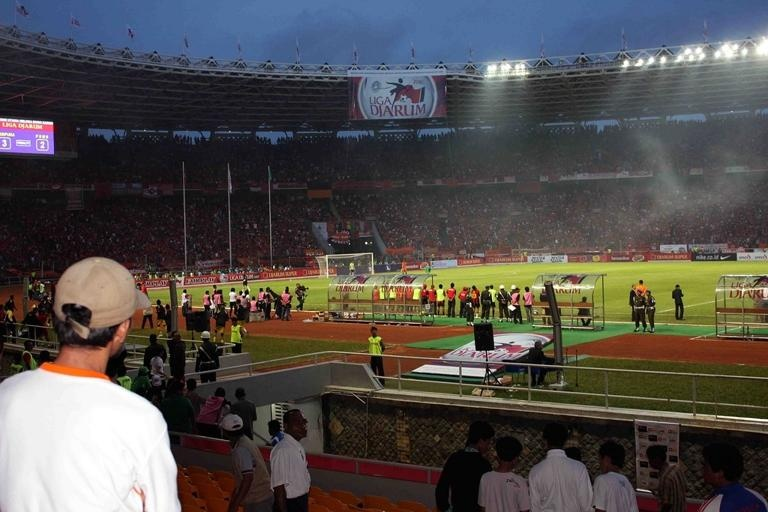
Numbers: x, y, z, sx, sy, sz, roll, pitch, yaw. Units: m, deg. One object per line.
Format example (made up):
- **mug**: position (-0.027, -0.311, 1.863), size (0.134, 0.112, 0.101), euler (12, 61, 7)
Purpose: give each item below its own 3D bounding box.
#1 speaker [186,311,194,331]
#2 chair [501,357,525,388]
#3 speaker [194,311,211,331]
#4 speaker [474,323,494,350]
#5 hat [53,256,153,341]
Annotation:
- **speaker**: position (-6.965, 2.288, 23.600), size (0.224, 0.623, 0.779), euler (-4, 0, -15)
- **chair**: position (4.263, 3.685, 21.292), size (0.717, 0.853, 1.631), euler (-4, 0, 11)
- **speaker**: position (-6.521, 2.313, 23.356), size (0.532, 0.752, 0.859), euler (-4, 0, -19)
- **speaker**: position (2.951, 2.362, 19.334), size (0.500, 0.853, 0.730), euler (-4, 0, 3)
- **hat**: position (-1.979, 0.243, 4.697), size (0.475, 0.332, 0.620), euler (12, 30, 2)
